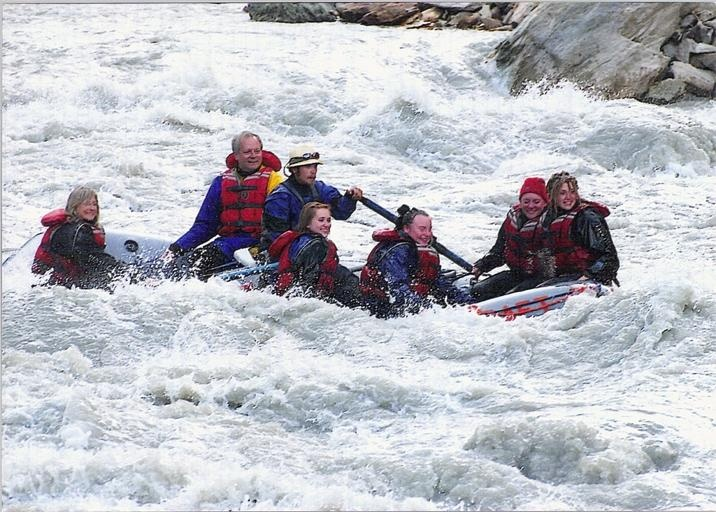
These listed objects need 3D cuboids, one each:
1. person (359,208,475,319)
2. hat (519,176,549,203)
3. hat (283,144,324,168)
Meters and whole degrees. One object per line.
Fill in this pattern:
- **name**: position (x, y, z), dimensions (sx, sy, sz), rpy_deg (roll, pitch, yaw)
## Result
- **person**: position (0.689, 0.016, 7.674), dimensions (1.149, 0.832, 0.678), rpy_deg (4, 30, 7)
- **hat**: position (1.414, -0.537, 7.790), dimensions (0.207, 0.172, 0.235), rpy_deg (9, 0, 10)
- **hat**: position (-0.471, -0.823, 8.055), dimensions (0.271, 0.109, 0.264), rpy_deg (-3, 0, 44)
